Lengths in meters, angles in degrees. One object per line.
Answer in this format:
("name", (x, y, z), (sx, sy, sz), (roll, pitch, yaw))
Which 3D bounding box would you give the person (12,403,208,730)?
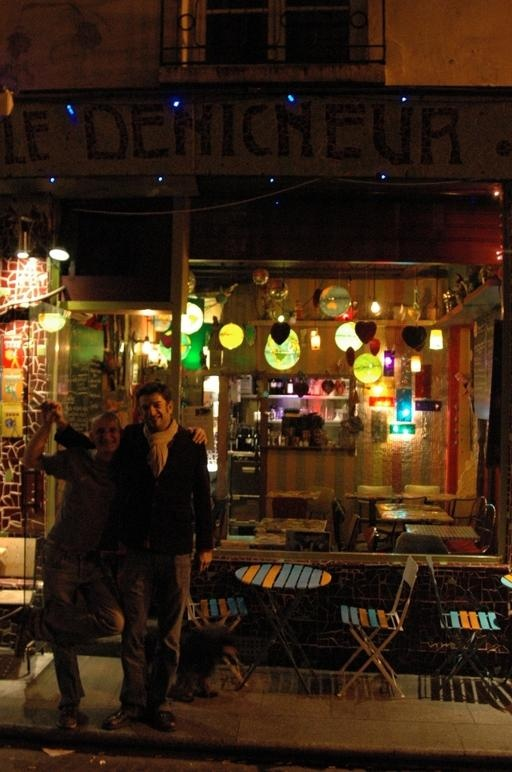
("person", (-1.049, 1.058, 5.036), (0.561, 1.860, 0.665), (-2, 13, -14))

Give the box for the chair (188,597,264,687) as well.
("chair", (-0.256, 1.735, 5.787), (0.554, 0.741, 0.452), (4, 3, 4))

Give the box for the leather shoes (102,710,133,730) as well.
("leather shoes", (-0.796, 1.932, 4.909), (0.065, 0.068, 0.164), (-1, -10, 26))

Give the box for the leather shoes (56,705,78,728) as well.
("leather shoes", (-1.091, 1.927, 4.973), (0.118, 0.091, 0.203), (-2, 13, -14))
